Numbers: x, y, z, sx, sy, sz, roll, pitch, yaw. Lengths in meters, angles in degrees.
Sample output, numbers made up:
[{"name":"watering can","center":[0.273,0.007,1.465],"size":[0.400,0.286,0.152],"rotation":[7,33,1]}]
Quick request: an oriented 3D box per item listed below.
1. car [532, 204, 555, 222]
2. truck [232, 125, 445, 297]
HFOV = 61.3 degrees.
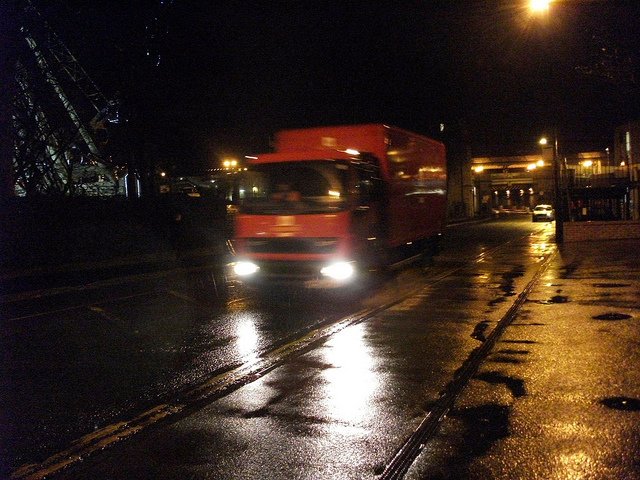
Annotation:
[{"name":"car","center":[22.664,-2.747,54.930],"size":[1.760,1.588,2.168],"rotation":[3,7,42]},{"name":"truck","center":[0.771,-1.063,16.637],"size":[4.756,4.228,9.220],"rotation":[2,6,33]}]
